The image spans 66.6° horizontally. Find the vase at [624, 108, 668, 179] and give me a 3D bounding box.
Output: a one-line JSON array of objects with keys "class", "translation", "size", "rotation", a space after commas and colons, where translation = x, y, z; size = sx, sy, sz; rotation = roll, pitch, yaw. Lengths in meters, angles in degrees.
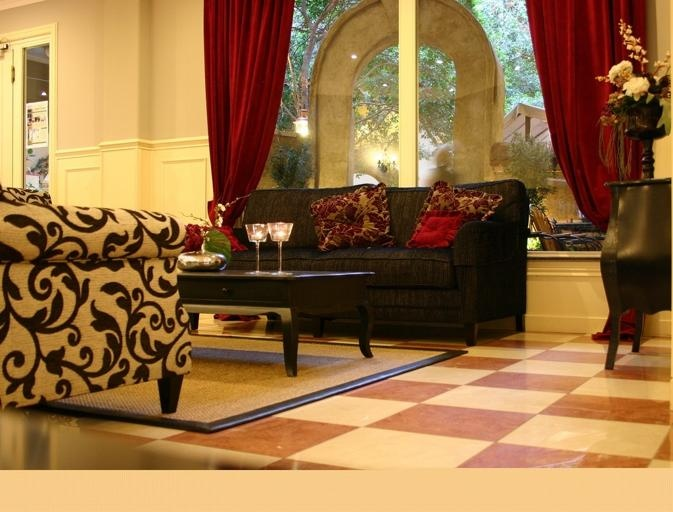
[{"class": "vase", "translation": [1.709, -0.635, 2.880], "size": [0.213, 0.396, 0.335], "rotation": [8, 14, 27]}]

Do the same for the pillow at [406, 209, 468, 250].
[{"class": "pillow", "translation": [0.727, -0.203, 3.756], "size": [0.451, 0.078, 0.461], "rotation": [10, -27, -18]}]

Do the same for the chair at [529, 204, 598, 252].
[{"class": "chair", "translation": [1.757, -0.216, 3.996], "size": [0.402, 0.420, 0.322], "rotation": [-1, -1, 20]}]

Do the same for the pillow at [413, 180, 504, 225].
[{"class": "pillow", "translation": [0.849, -0.404, 3.976], "size": [0.807, 0.192, 0.794], "rotation": [-8, 5, -20]}]
